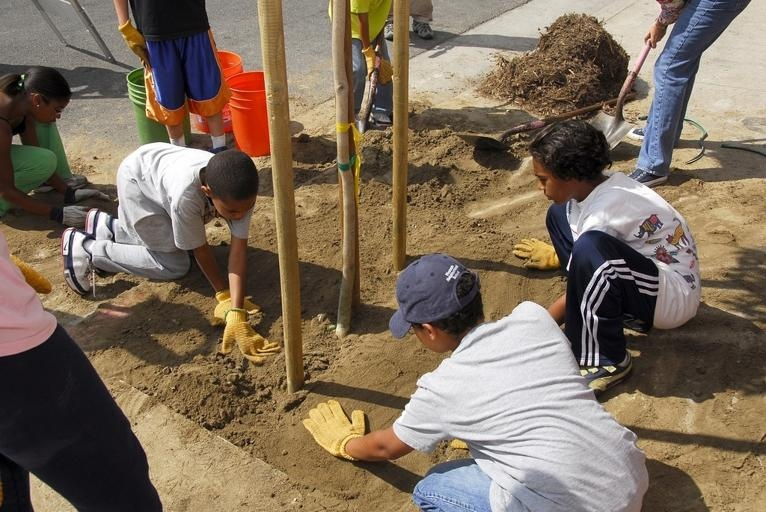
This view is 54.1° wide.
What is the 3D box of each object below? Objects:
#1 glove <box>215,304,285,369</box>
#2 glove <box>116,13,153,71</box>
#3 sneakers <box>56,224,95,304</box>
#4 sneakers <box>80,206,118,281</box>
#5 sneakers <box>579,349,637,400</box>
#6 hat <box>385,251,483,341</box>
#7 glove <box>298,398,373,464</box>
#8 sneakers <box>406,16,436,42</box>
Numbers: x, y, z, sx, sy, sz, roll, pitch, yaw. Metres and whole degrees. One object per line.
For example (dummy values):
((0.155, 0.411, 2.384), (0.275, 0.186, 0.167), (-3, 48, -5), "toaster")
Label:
((-0.978, 0.582, 5.457), (0.342, 0.341, 0.376), (-26, 41, -33), "glove")
((-2.123, -1.857, 6.538), (0.318, 0.395, 0.110), (21, 58, 44), "glove")
((-2.441, 0.048, 5.971), (0.277, 0.549, 0.207), (-1, 11, 16), "sneakers")
((-2.318, -0.103, 6.190), (0.216, 0.576, 0.271), (-8, -1, 34), "sneakers")
((1.497, 0.796, 5.037), (0.439, 0.166, 0.140), (-24, 61, -6), "sneakers")
((0.319, 0.236, 4.379), (0.416, 0.279, 0.562), (-37, 14, -31), "hat")
((-0.290, 1.148, 5.020), (0.398, 0.123, 0.497), (-18, 41, -25), "glove")
((0.493, -2.939, 9.760), (0.454, 0.195, 0.162), (40, 87, 19), "sneakers")
